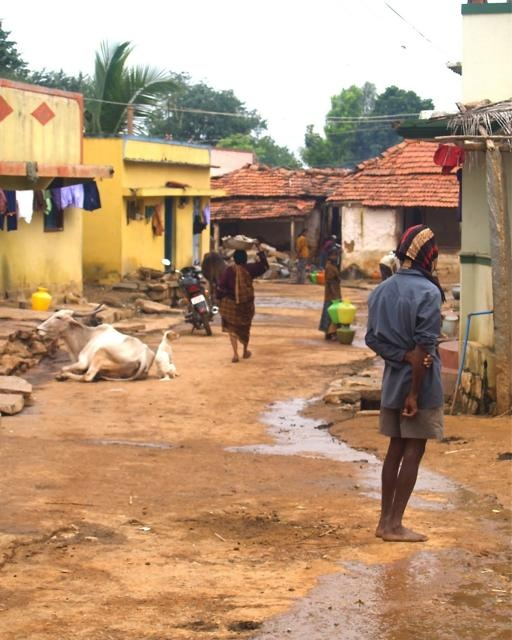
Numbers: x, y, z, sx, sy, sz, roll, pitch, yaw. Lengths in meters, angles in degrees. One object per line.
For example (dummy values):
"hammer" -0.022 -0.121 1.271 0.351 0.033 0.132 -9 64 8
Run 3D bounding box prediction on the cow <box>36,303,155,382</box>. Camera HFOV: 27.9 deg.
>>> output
"cow" -1.691 0.315 11.056 1.243 0.683 0.649 11 -8 -1

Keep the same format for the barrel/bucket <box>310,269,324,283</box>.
"barrel/bucket" 1.738 -1.202 28.785 0.368 0.378 0.336 -1 9 0

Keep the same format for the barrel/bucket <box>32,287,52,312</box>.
"barrel/bucket" -3.187 -0.306 15.450 0.362 0.421 0.352 4 0 0

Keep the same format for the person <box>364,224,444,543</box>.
"person" 0.797 0.324 5.517 0.423 1.657 0.398 3 6 5

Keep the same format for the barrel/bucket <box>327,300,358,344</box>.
"barrel/bucket" 1.173 0.019 14.592 0.544 0.714 0.551 1 -1 0

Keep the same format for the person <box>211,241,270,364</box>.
"person" -0.183 -0.201 12.714 0.577 1.355 0.864 2 5 5
